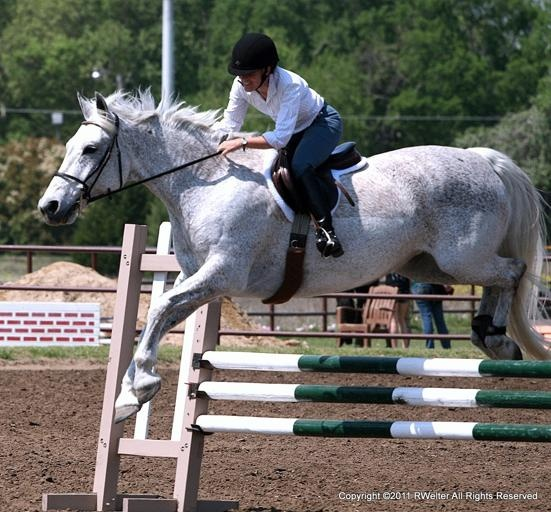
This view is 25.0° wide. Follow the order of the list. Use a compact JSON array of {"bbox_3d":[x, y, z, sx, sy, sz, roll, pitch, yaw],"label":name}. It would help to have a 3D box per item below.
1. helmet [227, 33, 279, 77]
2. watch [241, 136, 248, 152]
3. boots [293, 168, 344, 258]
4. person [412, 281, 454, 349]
[{"bbox_3d":[-0.168,-1.486,9.137,0.285,0.199,0.402,6,21,41],"label":"helmet"},{"bbox_3d":[-0.217,-0.808,9.091,0.057,0.067,0.081,4,8,1],"label":"watch"},{"bbox_3d":[0.334,-0.316,9.025,0.232,0.730,0.238,-17,3,16],"label":"boots"},{"bbox_3d":[1.841,0.613,14.517,0.552,1.044,0.193,-6,31,10],"label":"person"}]
